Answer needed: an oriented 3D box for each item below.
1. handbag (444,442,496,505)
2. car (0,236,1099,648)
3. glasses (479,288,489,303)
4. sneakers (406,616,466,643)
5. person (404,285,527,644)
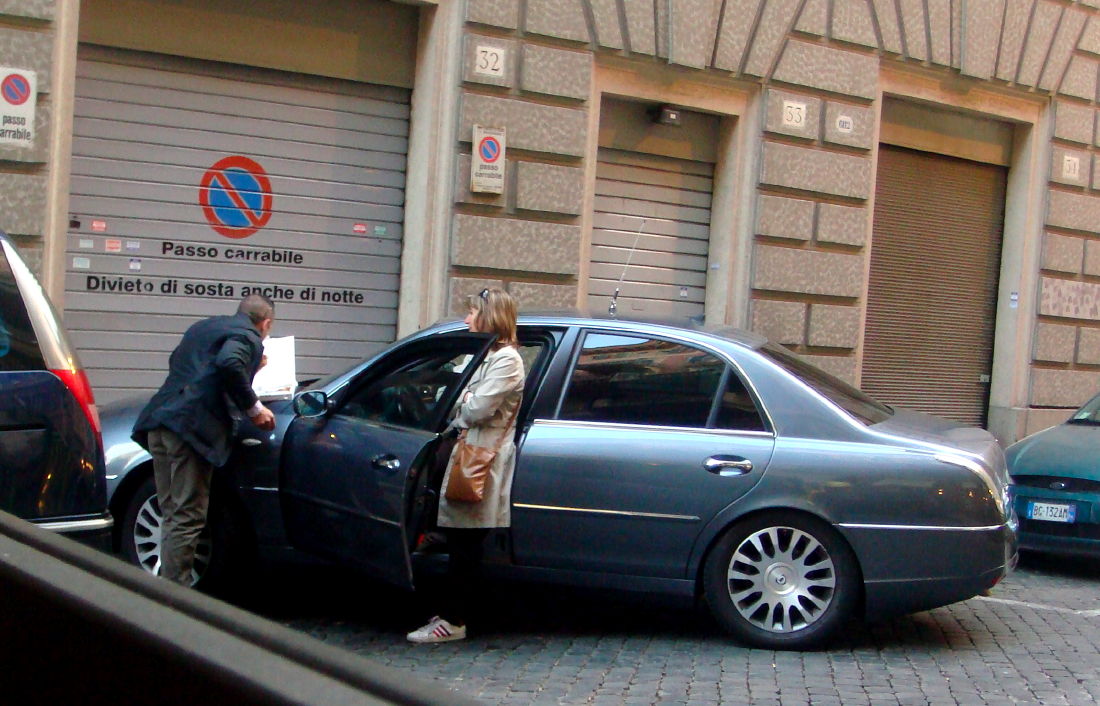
[{"bbox_3d":[-0.433,0.666,4.553,0.290,0.318,0.121,7,-13,7],"label":"handbag"},{"bbox_3d":[-0.074,0.606,5.042,5.357,2.253,2.743,2,0,-13],"label":"car"},{"bbox_3d":[-0.378,-0.338,4.801,0.037,0.066,0.094,-1,-9,-45],"label":"glasses"},{"bbox_3d":[-0.622,1.575,4.734,0.375,0.139,0.132,2,-3,-4],"label":"sneakers"},{"bbox_3d":[-0.433,0.634,4.651,0.552,1.986,0.379,2,0,-2],"label":"person"}]
